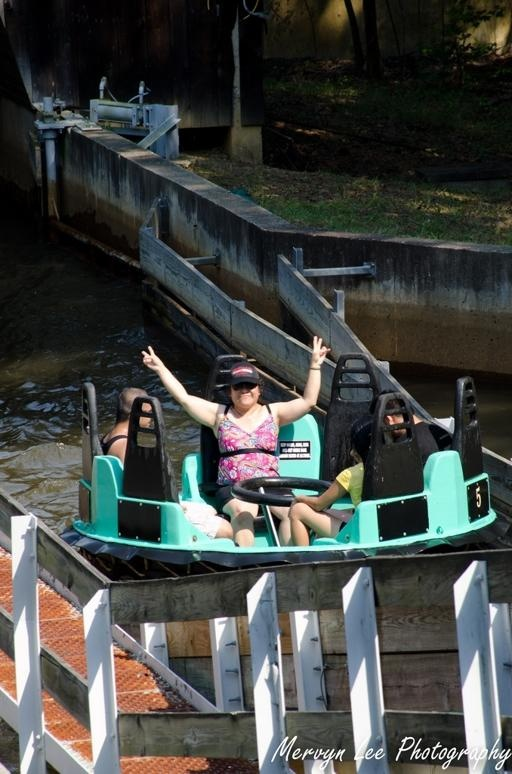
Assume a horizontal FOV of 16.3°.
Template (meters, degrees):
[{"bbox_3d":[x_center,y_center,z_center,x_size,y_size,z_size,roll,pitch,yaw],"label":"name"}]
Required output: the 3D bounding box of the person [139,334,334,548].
[{"bbox_3d":[0.005,0.359,9.528,0.859,1.349,0.791,2,-9,-43],"label":"person"}]

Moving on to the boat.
[{"bbox_3d":[0.132,0.338,9.210,2.009,1.040,1.538,0,8,34],"label":"boat"}]
